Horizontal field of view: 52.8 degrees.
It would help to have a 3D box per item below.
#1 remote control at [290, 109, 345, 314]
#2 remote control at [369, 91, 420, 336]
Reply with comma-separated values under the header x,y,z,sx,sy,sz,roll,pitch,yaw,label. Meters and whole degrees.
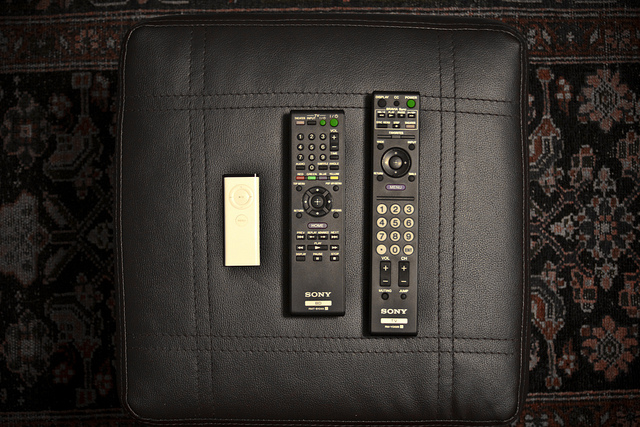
x,y,z,sx,sy,sz,roll,pitch,yaw,label
-0.005,-0.003,1.066,0.085,0.332,0.024,0,-2,8,remote control
0.123,0.000,1.066,0.073,0.393,0.028,1,-2,-10,remote control
